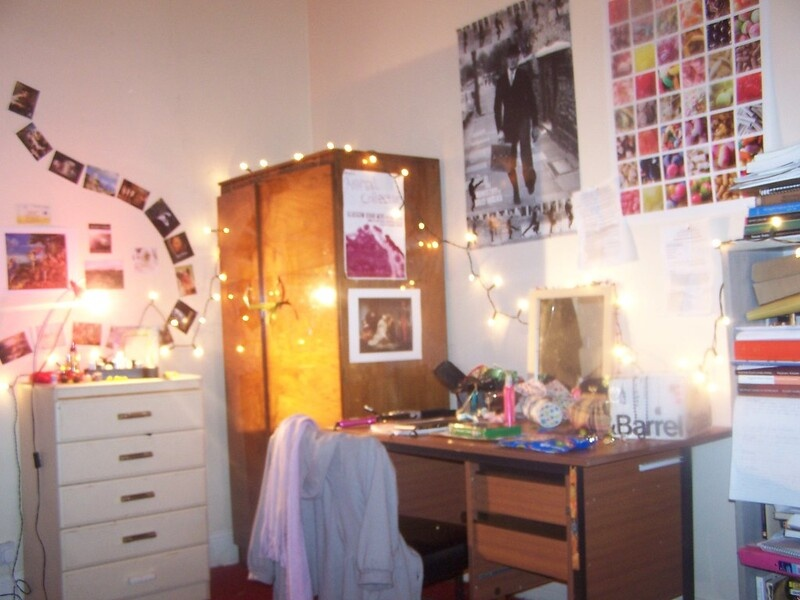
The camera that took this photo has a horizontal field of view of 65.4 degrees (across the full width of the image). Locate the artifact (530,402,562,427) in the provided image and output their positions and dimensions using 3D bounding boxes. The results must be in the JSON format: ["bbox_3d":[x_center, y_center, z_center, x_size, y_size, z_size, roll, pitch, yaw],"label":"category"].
[{"bbox_3d":[0.626,0.479,2.633,0.102,0.116,0.104,3,-6,3],"label":"artifact"}]

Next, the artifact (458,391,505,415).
[{"bbox_3d":[0.374,0.473,2.864,0.091,0.123,0.168,7,-11,-38],"label":"artifact"}]
